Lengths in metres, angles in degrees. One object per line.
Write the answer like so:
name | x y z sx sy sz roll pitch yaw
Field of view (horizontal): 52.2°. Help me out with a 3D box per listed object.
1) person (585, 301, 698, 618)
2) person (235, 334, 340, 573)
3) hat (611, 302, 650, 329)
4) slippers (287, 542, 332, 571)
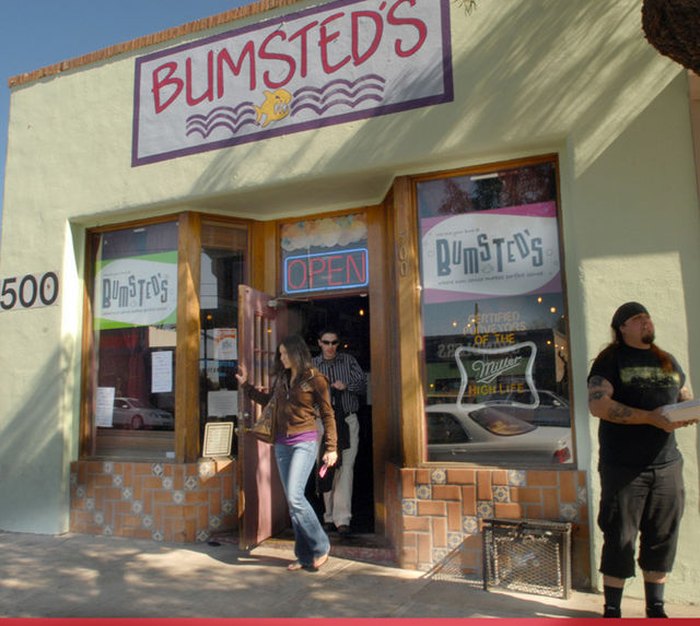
person | 1.958 0.995 4.861 0.565 2.152 0.456 -4 -7 26
person | -0.430 1.196 6.136 0.622 2.000 0.414 -2 -6 7
hat | 1.976 0.035 5.066 0.206 0.137 0.177 -37 -15 36
slippers | -0.382 2.120 6.111 0.419 0.205 0.136 3 -12 5
